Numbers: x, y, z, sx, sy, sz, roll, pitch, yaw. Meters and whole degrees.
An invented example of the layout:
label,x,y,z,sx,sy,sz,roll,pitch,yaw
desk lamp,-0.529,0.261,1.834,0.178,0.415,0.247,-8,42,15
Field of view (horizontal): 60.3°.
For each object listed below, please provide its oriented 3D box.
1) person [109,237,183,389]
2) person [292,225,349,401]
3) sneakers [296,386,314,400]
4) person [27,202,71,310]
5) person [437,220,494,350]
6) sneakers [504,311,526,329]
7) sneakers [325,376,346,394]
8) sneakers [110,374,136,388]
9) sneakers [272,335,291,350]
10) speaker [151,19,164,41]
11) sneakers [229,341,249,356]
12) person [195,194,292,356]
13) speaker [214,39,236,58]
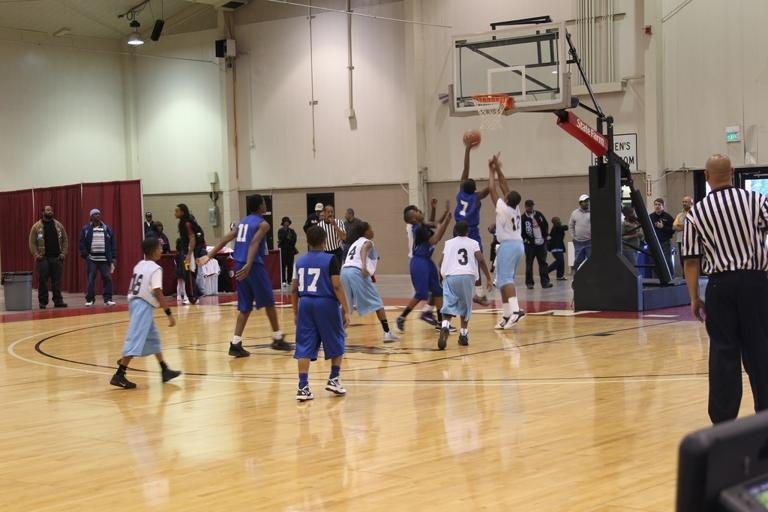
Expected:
label,x,y,z,sx,sy,sz,roll,pitch,yaw
person,-2.544,0.562,6.903,0.686,1.503,0.673,-3,3,-19
person,-0.608,0.500,6.109,0.509,1.554,0.541,-3,2,-9
sneakers,-0.732,1.237,6.019,0.081,0.101,0.212,1,2,15
person,-7.152,0.013,13.974,0.659,1.457,1.071,-4,3,-29
person,1.008,0.341,8.469,0.666,1.581,1.005,-2,3,8
sneakers,1.845,0.908,9.478,0.222,0.280,0.345,-4,3,-25
sneakers,-0.457,1.181,6.114,0.100,0.182,0.254,5,-7,40
sneakers,-2.635,1.254,6.667,0.301,0.152,0.112,7,3,-22
sneakers,-1.396,1.105,8.604,0.311,0.240,0.152,0,3,-14
speaker,-7.211,-7.088,20.798,0.348,0.724,0.730,-3,3,-14
sneakers,-1.791,1.126,8.069,0.247,0.189,0.138,1,2,-11
person,-1.692,0.215,8.307,0.898,1.999,1.132,-3,3,-11
speaker,-5.058,-6.539,20.835,0.541,0.545,0.310,-4,-10,30
